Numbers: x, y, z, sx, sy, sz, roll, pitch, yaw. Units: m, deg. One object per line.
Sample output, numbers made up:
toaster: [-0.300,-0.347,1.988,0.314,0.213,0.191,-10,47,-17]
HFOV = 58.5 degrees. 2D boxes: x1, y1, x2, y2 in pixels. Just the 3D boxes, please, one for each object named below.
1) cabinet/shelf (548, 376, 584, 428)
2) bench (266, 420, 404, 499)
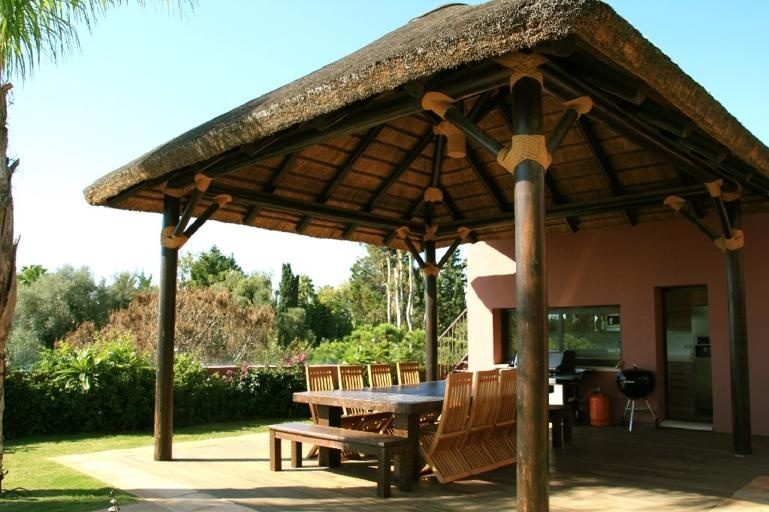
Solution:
cabinet/shelf: [3.251,2.665,13.141,0.910,0.965,0.945,-1,-4,32]
bench: [-0.697,2.780,9.568,2.128,0.776,0.694,-2,-3,38]
